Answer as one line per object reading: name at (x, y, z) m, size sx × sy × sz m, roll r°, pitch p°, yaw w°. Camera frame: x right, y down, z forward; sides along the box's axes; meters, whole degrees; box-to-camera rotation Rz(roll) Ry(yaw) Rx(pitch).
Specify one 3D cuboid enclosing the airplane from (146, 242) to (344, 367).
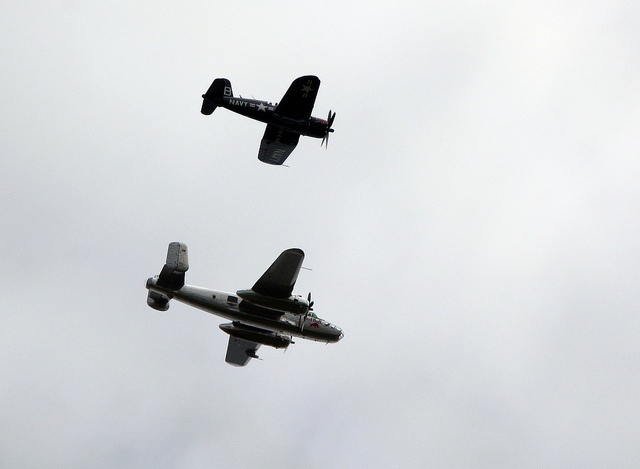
airplane at (-4.299, 4.266, 55.460) m, size 8.587 × 2.354 × 9.119 m, roll 16°, pitch -52°, yaw -17°

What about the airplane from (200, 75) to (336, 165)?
airplane at (-3.185, -7.041, 60.767) m, size 8.513 × 1.733 × 6.770 m, roll -3°, pitch -57°, yaw 13°
